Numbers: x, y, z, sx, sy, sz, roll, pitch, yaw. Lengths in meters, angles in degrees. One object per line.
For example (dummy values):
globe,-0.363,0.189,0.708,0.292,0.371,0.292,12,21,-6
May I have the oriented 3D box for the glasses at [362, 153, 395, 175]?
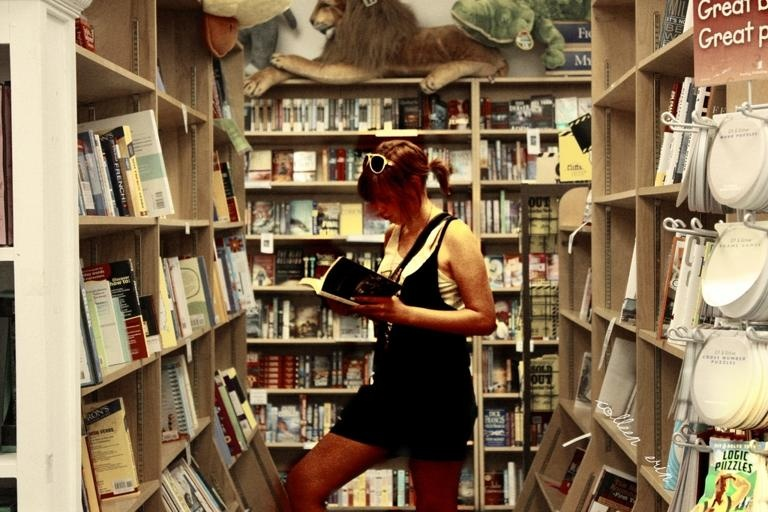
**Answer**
glasses,-0.036,-0.386,4.158,0.082,0.045,0.092,11,-9,28
